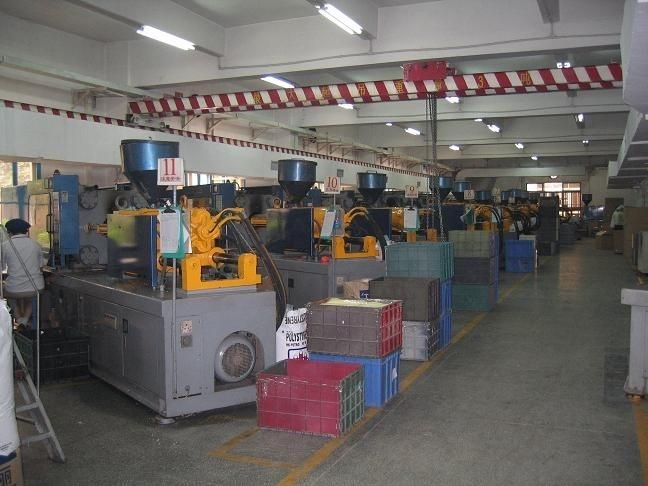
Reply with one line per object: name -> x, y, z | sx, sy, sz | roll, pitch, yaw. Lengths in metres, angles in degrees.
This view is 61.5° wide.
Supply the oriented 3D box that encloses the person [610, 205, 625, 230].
person -> 11.623, -0.923, 21.560 | 0.322, 0.971, 1.316 | 2, 8, 23
